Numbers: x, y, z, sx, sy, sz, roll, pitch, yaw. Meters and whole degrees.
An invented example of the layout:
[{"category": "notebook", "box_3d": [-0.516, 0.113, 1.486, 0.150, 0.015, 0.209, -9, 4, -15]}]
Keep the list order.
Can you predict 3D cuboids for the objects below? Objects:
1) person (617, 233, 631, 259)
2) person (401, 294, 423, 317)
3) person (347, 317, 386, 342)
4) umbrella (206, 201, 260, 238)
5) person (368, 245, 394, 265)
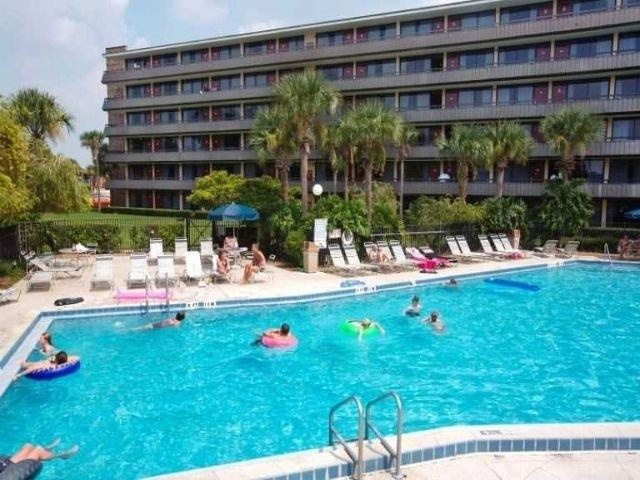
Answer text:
[{"category": "person", "box_3d": [16.995, 0.372, 31.938, 0.652, 1.113, 2.011, -2, 4, 27]}, {"category": "person", "box_3d": [3.408, 2.441, 20.765, 0.750, 0.856, 0.633, 0, 12, -13]}, {"category": "person", "box_3d": [1.477, 2.960, 19.066, 0.634, 0.363, 0.872, -7, 8, -20]}, {"category": "umbrella", "box_3d": [-4.050, -0.826, 27.404, 1.752, 0.982, 1.850, -1, 6, 0]}, {"category": "person", "box_3d": [2.809, 0.693, 27.211, 0.772, 0.430, 1.098, 1, 14, 2]}]
